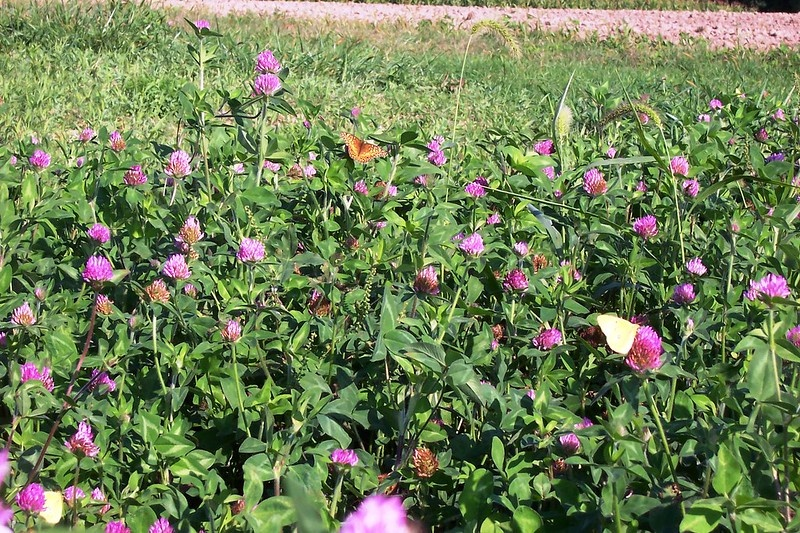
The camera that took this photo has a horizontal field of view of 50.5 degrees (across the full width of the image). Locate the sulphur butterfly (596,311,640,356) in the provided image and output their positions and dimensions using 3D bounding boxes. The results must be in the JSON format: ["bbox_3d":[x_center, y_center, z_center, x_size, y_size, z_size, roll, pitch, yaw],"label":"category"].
[{"bbox_3d":[0.676,0.203,2.655,0.114,0.135,0.082,-17,7,11],"label":"sulphur butterfly"}]
